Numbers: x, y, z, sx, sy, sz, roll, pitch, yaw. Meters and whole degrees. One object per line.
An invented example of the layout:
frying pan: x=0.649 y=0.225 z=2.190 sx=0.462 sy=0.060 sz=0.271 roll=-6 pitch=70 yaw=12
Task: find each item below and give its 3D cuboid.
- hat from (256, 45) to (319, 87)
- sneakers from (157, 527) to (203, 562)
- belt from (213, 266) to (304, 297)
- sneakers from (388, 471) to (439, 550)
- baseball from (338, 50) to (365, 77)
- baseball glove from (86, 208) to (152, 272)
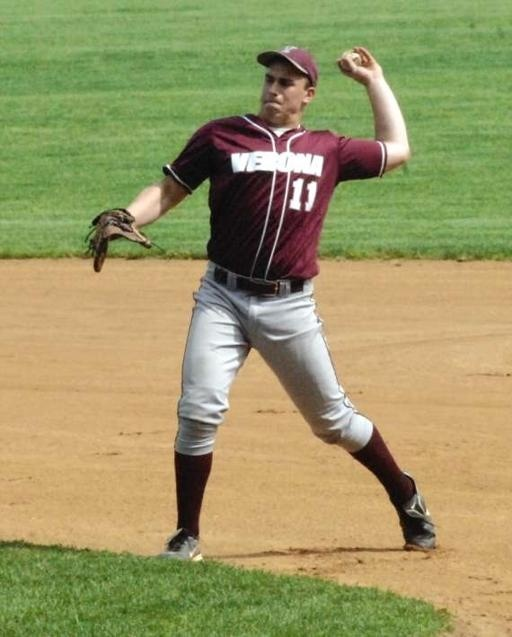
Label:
hat: x=0.183 y=-1.281 z=7.164 sx=0.179 sy=0.128 sz=0.269 roll=22 pitch=-2 yaw=40
sneakers: x=-0.363 y=1.114 z=6.932 sx=0.192 sy=0.152 sz=0.205 roll=0 pitch=14 yaw=-4
belt: x=0.009 y=-0.183 z=6.994 sx=0.430 sy=0.121 sz=0.107 roll=1 pitch=14 yaw=1
sneakers: x=0.809 y=0.975 z=7.304 sx=0.129 sy=0.352 sz=0.153 roll=-21 pitch=-3 yaw=43
baseball: x=0.468 y=-1.339 z=7.414 sx=0.126 sy=0.146 sz=0.067 roll=2 pitch=0 yaw=-8
baseball glove: x=-0.679 y=-0.426 z=6.987 sx=0.261 sy=0.383 sz=0.191 roll=9 pitch=-2 yaw=-5
